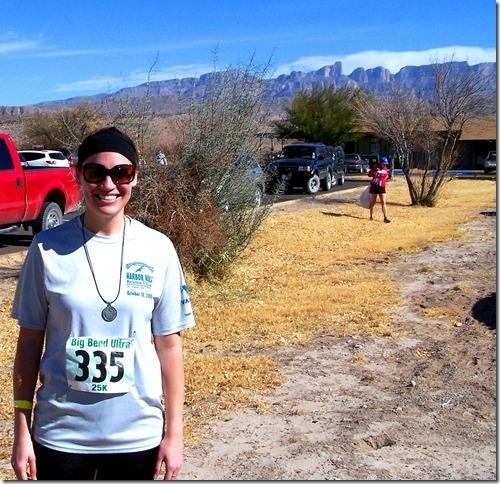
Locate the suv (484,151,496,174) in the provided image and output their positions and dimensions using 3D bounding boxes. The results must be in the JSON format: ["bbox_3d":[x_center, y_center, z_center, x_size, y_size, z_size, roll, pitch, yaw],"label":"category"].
[{"bbox_3d":[23.492,-7.716,42.739,0.850,1.900,3.992,5,10,28],"label":"suv"}]

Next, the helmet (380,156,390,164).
[{"bbox_3d":[4.817,-2.939,15.634,0.420,0.165,0.447,5,23,0],"label":"helmet"}]

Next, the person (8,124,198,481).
[{"bbox_3d":[-0.568,0.225,1.624,0.713,1.311,0.446,-1,9,-8],"label":"person"}]

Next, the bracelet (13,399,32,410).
[{"bbox_3d":[-0.814,0.571,1.552,0.041,0.018,0.044,4,-12,-1],"label":"bracelet"}]

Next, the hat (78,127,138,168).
[{"bbox_3d":[-0.552,-0.379,1.676,0.178,0.148,0.181,-4,-2,-7],"label":"hat"}]
